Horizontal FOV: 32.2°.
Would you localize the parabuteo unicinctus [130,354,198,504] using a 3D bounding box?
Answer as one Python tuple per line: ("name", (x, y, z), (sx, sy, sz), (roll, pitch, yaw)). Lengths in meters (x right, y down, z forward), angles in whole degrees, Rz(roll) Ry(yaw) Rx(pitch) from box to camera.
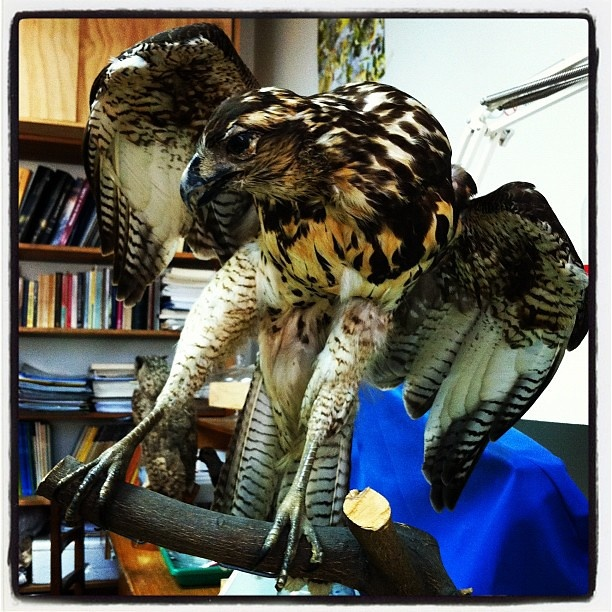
("parabuteo unicinctus", (-0.229, 0.196, 1.738), (0.117, 0.283, 0.105), (12, 24, 15))
